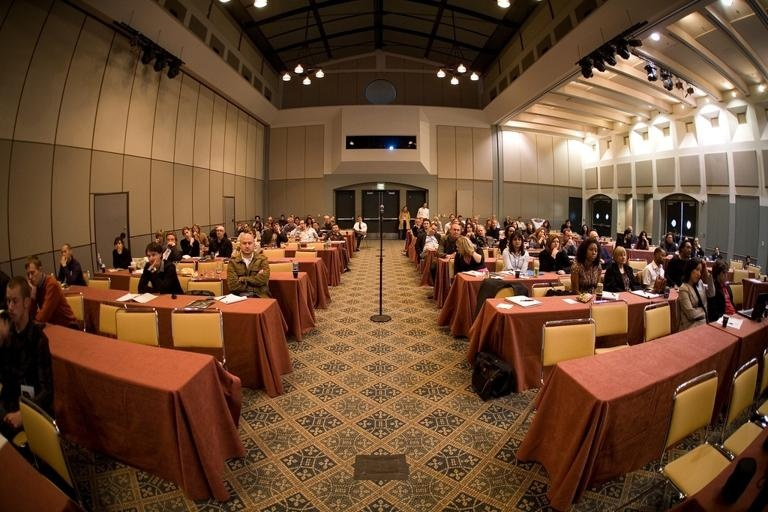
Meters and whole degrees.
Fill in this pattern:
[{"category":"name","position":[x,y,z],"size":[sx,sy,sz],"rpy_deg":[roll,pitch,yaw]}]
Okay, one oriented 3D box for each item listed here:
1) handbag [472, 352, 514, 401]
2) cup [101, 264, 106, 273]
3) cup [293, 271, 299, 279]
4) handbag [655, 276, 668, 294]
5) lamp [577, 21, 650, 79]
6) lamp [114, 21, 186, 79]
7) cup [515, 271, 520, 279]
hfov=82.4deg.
[{"category":"handbag","position":[1.707,1.822,6.963],"size":[0.550,0.724,0.686],"rpy_deg":[-8,18,-20]},{"category":"cup","position":[-6.094,0.280,9.536],"size":[0.120,0.168,0.415],"rpy_deg":[-2,0,-28]},{"category":"cup","position":[-1.705,0.364,8.520],"size":[0.100,0.111,0.106],"rpy_deg":[-2,-9,0]},{"category":"handbag","position":[4.852,0.514,7.742],"size":[0.203,0.425,0.210],"rpy_deg":[4,-7,37]},{"category":"lamp","position":[5.827,-5.165,11.286],"size":[0.393,0.718,1.988],"rpy_deg":[-2,7,-19]},{"category":"lamp","position":[-6.123,-5.314,11.576],"size":[0.435,0.630,2.016],"rpy_deg":[30,-2,-2]},{"category":"cup","position":[2.584,0.383,8.510],"size":[0.095,0.118,0.102],"rpy_deg":[0,-2,0]}]
